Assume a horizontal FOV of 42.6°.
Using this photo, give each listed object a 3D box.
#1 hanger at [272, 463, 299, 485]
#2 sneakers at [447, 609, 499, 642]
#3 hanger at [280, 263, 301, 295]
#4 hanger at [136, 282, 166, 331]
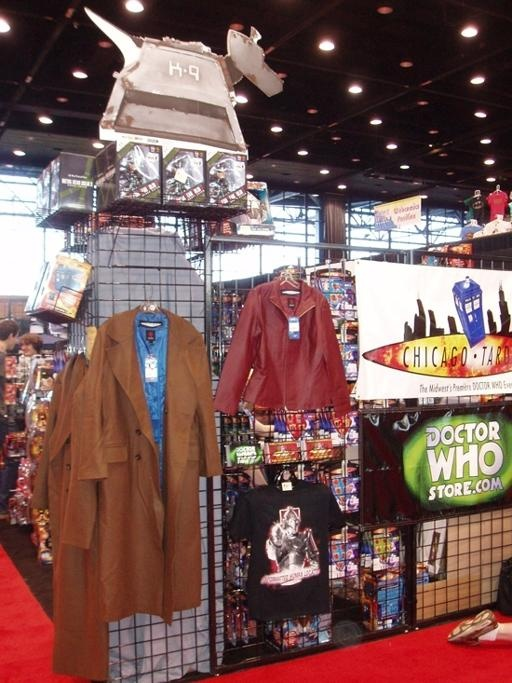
[{"bbox_3d":[0.140,0.619,3.114,0.133,0.109,0.082,2,13,3],"label":"hanger"},{"bbox_3d":[1.061,1.390,3.211,0.271,0.079,0.132,-29,-15,12],"label":"sneakers"},{"bbox_3d":[0.161,-0.301,3.209,0.132,0.155,0.052,5,-30,-8],"label":"hanger"},{"bbox_3d":[-0.455,-0.121,2.815,0.153,0.027,0.291,3,-45,6],"label":"hanger"}]
